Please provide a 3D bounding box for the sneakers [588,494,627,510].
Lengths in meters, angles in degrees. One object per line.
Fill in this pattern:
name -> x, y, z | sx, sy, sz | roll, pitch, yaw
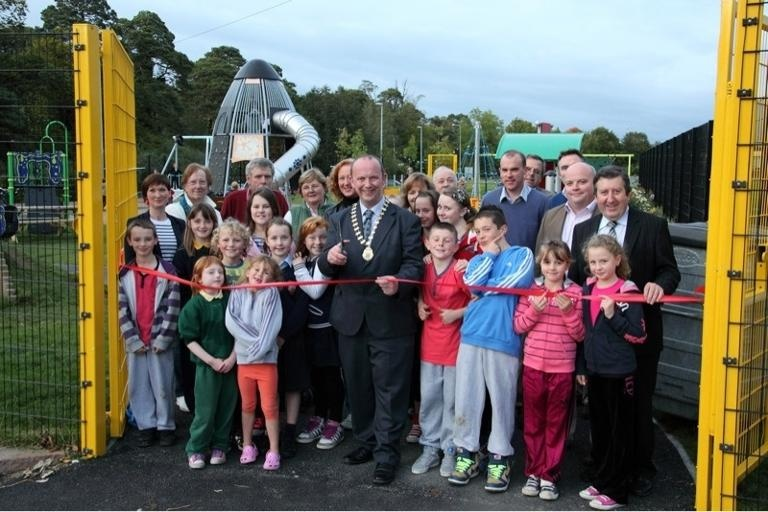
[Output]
sneakers -> 1.856, 2.032, 5.702 | 0.251, 0.107, 0.114 | 7, -10, 0

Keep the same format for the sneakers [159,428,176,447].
sneakers -> -2.091, 1.718, 6.600 | 0.167, 0.120, 0.222 | -5, 15, -20

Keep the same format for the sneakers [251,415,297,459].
sneakers -> -1.057, 1.743, 6.598 | 0.200, 0.259, 0.616 | 1, -5, -3

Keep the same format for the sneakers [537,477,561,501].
sneakers -> 1.402, 1.974, 5.822 | 0.173, 0.123, 0.153 | 4, 14, 12

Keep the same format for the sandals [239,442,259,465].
sandals -> -1.256, 1.799, 6.337 | 0.157, 0.141, 0.211 | -2, 14, -9

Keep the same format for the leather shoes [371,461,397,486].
leather shoes -> -0.011, 1.906, 6.031 | 0.199, 0.135, 0.171 | -1, 14, -5

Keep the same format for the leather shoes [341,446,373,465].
leather shoes -> -0.237, 1.834, 6.356 | 0.241, 0.093, 0.127 | 3, 1, -28

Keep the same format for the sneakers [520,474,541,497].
sneakers -> 1.256, 1.960, 5.872 | 0.145, 0.133, 0.143 | 6, 15, 22

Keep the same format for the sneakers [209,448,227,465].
sneakers -> -1.526, 1.832, 6.281 | 0.155, 0.103, 0.116 | -4, 15, -16

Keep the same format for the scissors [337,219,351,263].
scissors -> -0.374, -0.134, 6.318 | 0.068, 0.308, 0.216 | -8, 0, 2

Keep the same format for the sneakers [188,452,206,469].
sneakers -> -1.697, 1.835, 6.204 | 0.155, 0.114, 0.157 | -4, 15, -18

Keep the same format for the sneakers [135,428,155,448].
sneakers -> -2.310, 1.746, 6.574 | 0.098, 0.168, 0.234 | -1, -21, 1

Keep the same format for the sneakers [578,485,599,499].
sneakers -> 1.721, 1.984, 5.771 | 0.156, 0.068, 0.075 | 4, -3, -9

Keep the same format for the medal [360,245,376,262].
medal -> -0.150, -0.020, 6.239 | 0.105, 0.127, 0.055 | 1, 13, 4

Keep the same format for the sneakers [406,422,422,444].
sneakers -> 0.294, 1.759, 6.815 | 0.090, 0.127, 0.286 | -1, -10, 10
